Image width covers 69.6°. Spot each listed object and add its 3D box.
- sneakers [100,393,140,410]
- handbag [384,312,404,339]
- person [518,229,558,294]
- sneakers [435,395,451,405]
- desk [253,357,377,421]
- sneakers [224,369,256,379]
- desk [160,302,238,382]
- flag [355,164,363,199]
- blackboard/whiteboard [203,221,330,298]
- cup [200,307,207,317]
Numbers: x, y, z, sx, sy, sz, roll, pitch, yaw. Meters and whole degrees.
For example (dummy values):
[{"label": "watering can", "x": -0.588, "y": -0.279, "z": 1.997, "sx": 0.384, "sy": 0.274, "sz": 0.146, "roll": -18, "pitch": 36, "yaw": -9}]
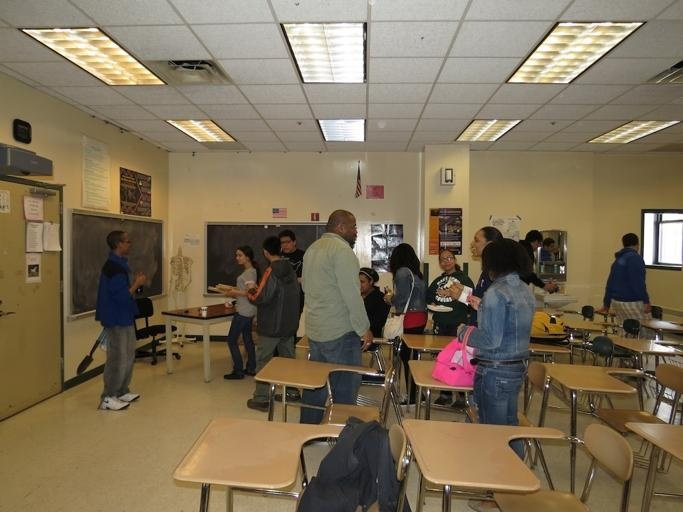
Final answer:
[{"label": "sneakers", "x": -2.557, "y": 1.632, "z": 5.576, "sx": 0.284, "sy": 0.132, "sz": 0.168, "roll": -1, "pitch": 1, "yaw": 1}, {"label": "handbag", "x": 0.563, "y": 0.755, "z": 5.278, "sx": 0.130, "sy": 0.262, "sz": 0.241, "roll": 11, "pitch": -11, "yaw": -19}, {"label": "person", "x": 2.660, "y": 0.084, "z": 6.591, "sx": 0.542, "sy": 0.998, "sz": 0.350, "roll": 4, "pitch": 1, "yaw": -38}, {"label": "sneakers", "x": 1.177, "y": 1.677, "z": 5.715, "sx": 0.203, "sy": 0.090, "sz": 0.113, "roll": 1, "pitch": -2, "yaw": 0}, {"label": "desk", "x": -0.246, "y": 1.076, "z": 4.252, "sx": 1.015, "sy": 0.579, "sz": 0.512, "roll": 2, "pitch": 6, "yaw": 11}, {"label": "sneakers", "x": -1.345, "y": 1.553, "z": 6.539, "sx": 0.400, "sy": 0.163, "sz": 0.146, "roll": 1, "pitch": -5, "yaw": -1}, {"label": "desk", "x": -1.962, "y": 0.960, "z": 6.718, "sx": 0.877, "sy": 0.878, "sz": 1.184, "roll": 1, "pitch": 3, "yaw": 17}, {"label": "flag", "x": 0.281, "y": -1.269, "z": 8.201, "sx": 0.104, "sy": 0.584, "sz": 0.230, "roll": 1, "pitch": 11, "yaw": 3}, {"label": "blackboard/whiteboard", "x": -1.008, "y": 0.018, "z": 6.679, "sx": 1.238, "sy": 0.812, "sz": 0.053, "roll": -1, "pitch": -5, "yaw": 2}, {"label": "cup", "x": -1.813, "y": 0.744, "z": 6.502, "sx": 0.106, "sy": 0.154, "sz": 0.106, "roll": 0, "pitch": -3, "yaw": 0}]
